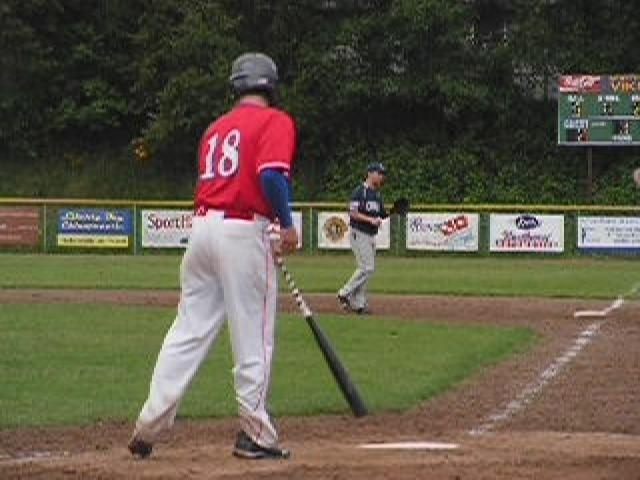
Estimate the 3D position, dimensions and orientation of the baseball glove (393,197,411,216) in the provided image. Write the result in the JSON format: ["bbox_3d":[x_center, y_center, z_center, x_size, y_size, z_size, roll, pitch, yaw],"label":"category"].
[{"bbox_3d":[1.814,-0.823,28.832,0.427,0.390,0.367,-13,-9,40],"label":"baseball glove"}]

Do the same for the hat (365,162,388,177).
[{"bbox_3d":[1.295,-1.597,28.765,0.396,0.409,0.332,-4,5,-36],"label":"hat"}]
